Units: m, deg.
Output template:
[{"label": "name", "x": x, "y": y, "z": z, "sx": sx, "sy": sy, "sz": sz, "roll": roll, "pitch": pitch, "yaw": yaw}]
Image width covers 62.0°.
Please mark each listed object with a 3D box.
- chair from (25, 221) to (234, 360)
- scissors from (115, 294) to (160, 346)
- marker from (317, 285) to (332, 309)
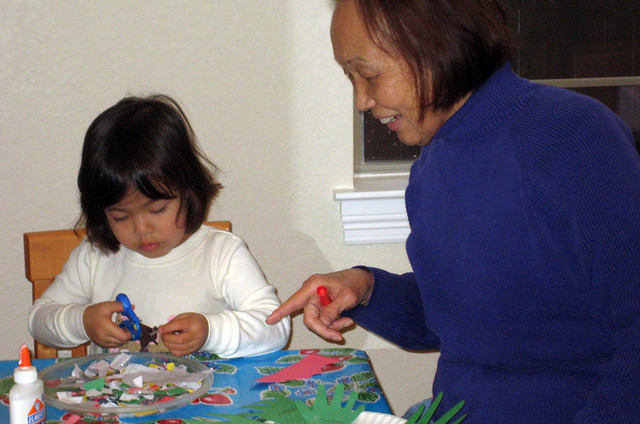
[{"label": "chair", "x": -0.659, "y": 0.236, "z": 1.902, "sx": 0.367, "sy": 0.630, "sz": 0.364, "roll": -7, "pitch": 4, "yaw": -27}, {"label": "scissors", "x": -0.472, "y": 0.284, "z": 1.379, "sx": 0.143, "sy": 0.104, "sz": 0.044, "roll": 15, "pitch": 18, "yaw": 8}, {"label": "marker", "x": 0.011, "y": 0.201, "z": 1.257, "sx": 0.022, "sy": 0.022, "sz": 0.051, "roll": -33, "pitch": -7, "yaw": -11}]
